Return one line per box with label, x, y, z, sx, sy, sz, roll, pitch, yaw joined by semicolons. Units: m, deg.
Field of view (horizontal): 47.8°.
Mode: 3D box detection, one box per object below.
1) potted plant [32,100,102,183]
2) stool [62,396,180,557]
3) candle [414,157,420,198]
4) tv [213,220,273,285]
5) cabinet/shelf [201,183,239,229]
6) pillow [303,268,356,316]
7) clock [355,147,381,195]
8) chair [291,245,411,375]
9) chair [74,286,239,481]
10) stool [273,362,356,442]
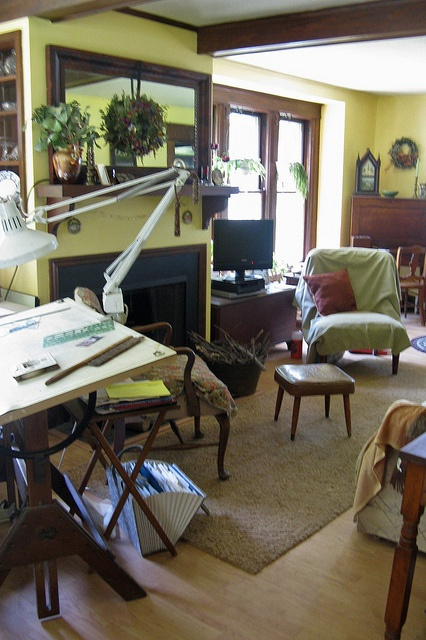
potted plant;-0.734;-0.888;2.407;0.304;0.390;0.379;4;18;4
stool;-0.342;0.596;1.791;0.245;0.524;0.549;-5;14;-21
candle;2.691;-1.889;6.381;0.054;0.510;0.091;2;6;21
tv;0.269;-0.616;4.258;0.522;0.569;0.177;-2;20;-4
cabinet/shelf;0.027;-0.825;3.580;0.325;0.345;0.387;-5;19;-18
pillow;0.990;-0.228;4.122;0.377;0.379;0.117;-10;-14;-33
clock;1.989;-1.893;6.217;0.329;0.581;0.166;0;6;2
chair;1.217;-0.124;4.116;1.069;0.950;1.109;7;15;43
chair;-0.256;0.288;2.433;0.689;0.954;0.661;-9;13;-27
stool;0.581;0.529;2.951;0.411;0.384;0.434;1;11;-11
